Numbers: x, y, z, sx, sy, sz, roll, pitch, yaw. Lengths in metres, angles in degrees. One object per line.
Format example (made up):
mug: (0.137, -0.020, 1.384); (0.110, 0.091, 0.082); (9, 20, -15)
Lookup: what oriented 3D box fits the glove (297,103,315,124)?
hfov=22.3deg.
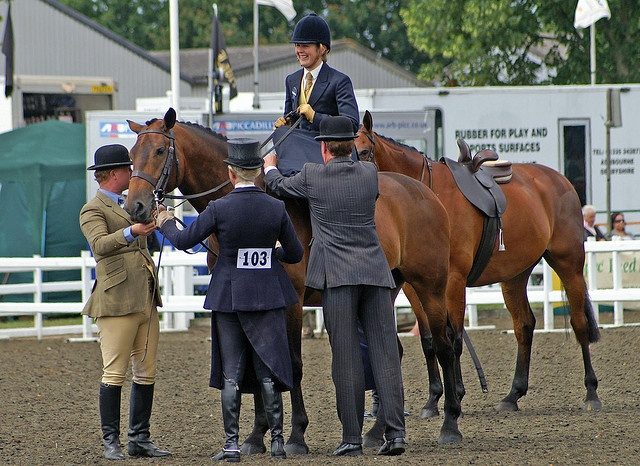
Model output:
glove: (-0.233, -2.437, 32.496); (0.246, 0.410, 0.130); (5, 25, 35)

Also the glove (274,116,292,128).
glove: (-0.768, -2.236, 32.738); (0.268, 0.117, 0.214); (1, 25, 43)

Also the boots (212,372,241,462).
boots: (-1.763, 3.673, 31.722); (0.496, 1.635, 0.288); (-3, 4, -5)

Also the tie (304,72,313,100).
tie: (-0.216, -3.002, 32.633); (0.203, 0.469, 0.081); (-5, -10, 22)

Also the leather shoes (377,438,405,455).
leather shoes: (1.456, 4.227, 31.837); (0.238, 0.281, 0.538); (10, -18, -31)

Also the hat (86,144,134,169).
hat: (-4.278, -1.578, 33.339); (0.597, 0.320, 0.723); (-8, 1, -28)

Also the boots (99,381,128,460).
boots: (-4.091, 3.714, 32.076); (0.423, 1.525, 0.549); (-3, 4, -11)

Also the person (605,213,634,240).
person: (7.392, -0.153, 39.897); (0.579, 0.645, 1.346); (-2, 6, 15)
